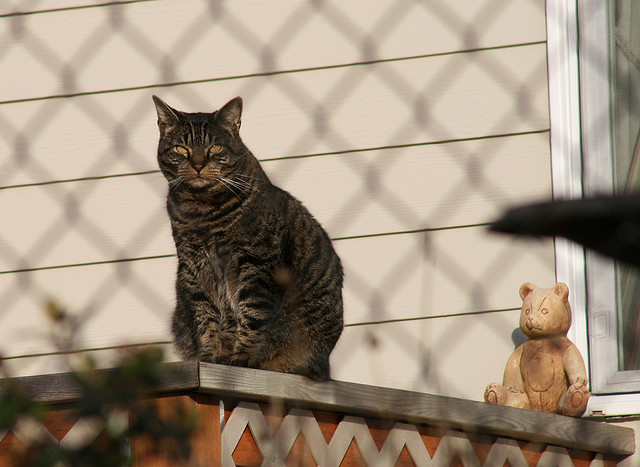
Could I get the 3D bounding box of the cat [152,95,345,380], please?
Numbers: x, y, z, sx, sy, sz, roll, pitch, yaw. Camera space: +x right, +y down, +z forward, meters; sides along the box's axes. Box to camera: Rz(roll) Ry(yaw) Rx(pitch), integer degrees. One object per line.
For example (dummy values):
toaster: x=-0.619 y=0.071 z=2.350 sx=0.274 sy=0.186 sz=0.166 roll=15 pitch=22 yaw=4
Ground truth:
cat: x=-0.351 y=0.077 z=8.692 sx=0.803 sy=1.283 sz=1.016 roll=-4 pitch=-10 yaw=36

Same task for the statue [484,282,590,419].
statue: x=0.971 y=0.542 z=8.182 sx=0.586 sy=0.421 sz=0.716 roll=-1 pitch=-94 yaw=33
